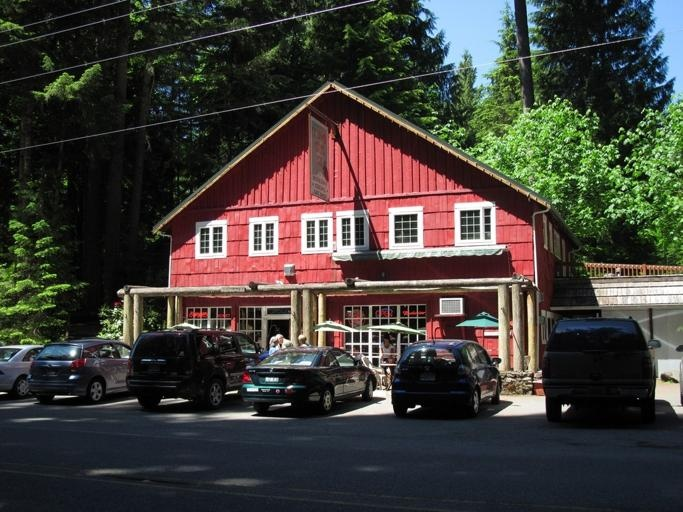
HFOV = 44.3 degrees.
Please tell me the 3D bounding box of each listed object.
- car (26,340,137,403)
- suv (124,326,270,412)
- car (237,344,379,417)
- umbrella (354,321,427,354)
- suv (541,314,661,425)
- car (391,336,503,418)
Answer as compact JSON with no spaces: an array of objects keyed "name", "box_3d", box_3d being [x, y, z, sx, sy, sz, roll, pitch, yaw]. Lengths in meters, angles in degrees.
[{"name":"car","box_3d":[-8.216,3.629,27.365,1.842,1.516,3.280,-4,-4,19]},{"name":"suv","box_3d":[-4.437,3.357,25.916,1.928,1.537,3.680,-4,-5,24]},{"name":"car","box_3d":[-0.799,3.695,25.153,1.524,1.968,4.056,-8,-11,44]},{"name":"umbrella","box_3d":[1.928,2.867,32.005,1.776,0.688,1.611,11,-19,-38]},{"name":"suv","box_3d":[6.595,2.795,21.572,1.848,1.597,3.387,-3,-3,22]},{"name":"car","box_3d":[3.180,3.472,24.085,3.228,2.161,1.848,6,-10,-37]}]
